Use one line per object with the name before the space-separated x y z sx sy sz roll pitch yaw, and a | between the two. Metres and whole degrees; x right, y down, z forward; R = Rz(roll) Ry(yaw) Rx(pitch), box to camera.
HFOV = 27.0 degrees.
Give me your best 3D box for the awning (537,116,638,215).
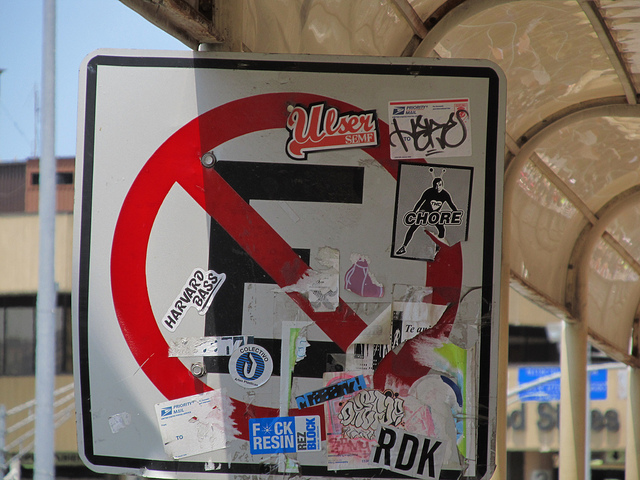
awning | 4.983 -1.471 24.344 1.498 0.407 1.663 -34 -60 1
